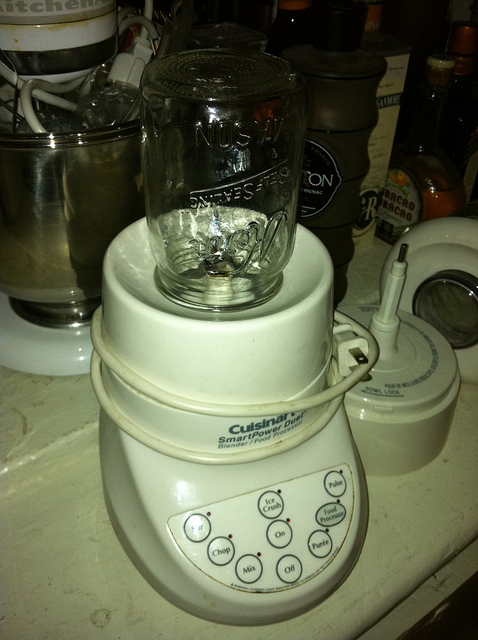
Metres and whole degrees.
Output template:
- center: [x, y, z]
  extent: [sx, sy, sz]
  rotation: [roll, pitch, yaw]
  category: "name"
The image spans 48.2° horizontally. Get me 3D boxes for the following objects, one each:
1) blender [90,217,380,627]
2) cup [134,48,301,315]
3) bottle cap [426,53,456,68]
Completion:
- center: [-0.004, 0.061, 0.410]
  extent: [0.193, 0.217, 0.258]
  rotation: [-9, 37, -15]
  category: "blender"
- center: [-0.021, -0.147, 0.517]
  extent: [0.151, 0.245, 0.150]
  rotation: [0, 47, 0]
  category: "cup"
- center: [0.227, -0.291, 0.603]
  extent: [0.029, 0.009, 0.031]
  rotation: [-9, 37, -16]
  category: "bottle cap"
